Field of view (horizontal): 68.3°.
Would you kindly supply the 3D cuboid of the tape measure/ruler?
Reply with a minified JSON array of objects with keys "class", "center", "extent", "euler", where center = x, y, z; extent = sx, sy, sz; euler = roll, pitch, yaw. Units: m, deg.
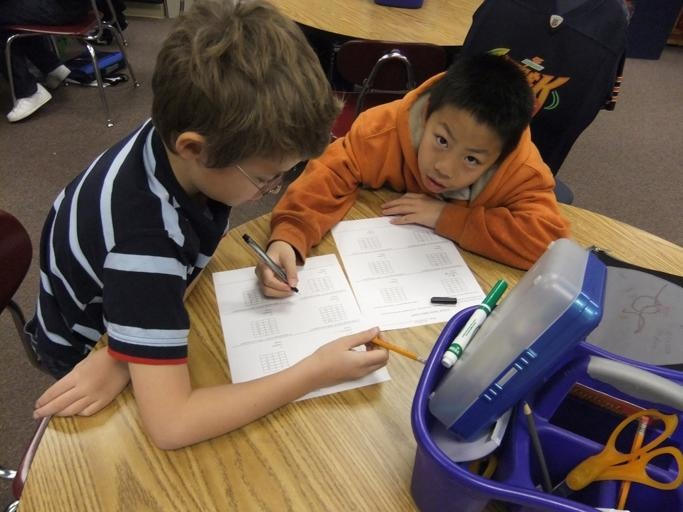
[{"class":"tape measure/ruler","center":[0.509,0.253,0.948],"extent":[0.109,0.070,0.129],"euler":[13,32,21]}]

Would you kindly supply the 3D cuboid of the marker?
[{"class":"marker","center":[0.254,0.133,0.971],"extent":[0.028,0.030,0.192],"euler":[31,60,21]}]

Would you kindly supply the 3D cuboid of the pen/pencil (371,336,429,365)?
[{"class":"pen/pencil","center":[0.125,0.208,1.105],"extent":[0.106,0.013,0.016],"euler":[26,26,-4]}]

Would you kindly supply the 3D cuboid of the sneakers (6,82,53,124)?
[{"class":"sneakers","center":[-1.865,-0.896,3.004],"extent":[0.245,0.246,0.189],"euler":[1,37,-12]}]

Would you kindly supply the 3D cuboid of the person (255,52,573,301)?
[{"class":"person","center":[0.179,-0.258,1.527],"extent":[0.630,0.692,0.887],"euler":[4,38,-15]}]
